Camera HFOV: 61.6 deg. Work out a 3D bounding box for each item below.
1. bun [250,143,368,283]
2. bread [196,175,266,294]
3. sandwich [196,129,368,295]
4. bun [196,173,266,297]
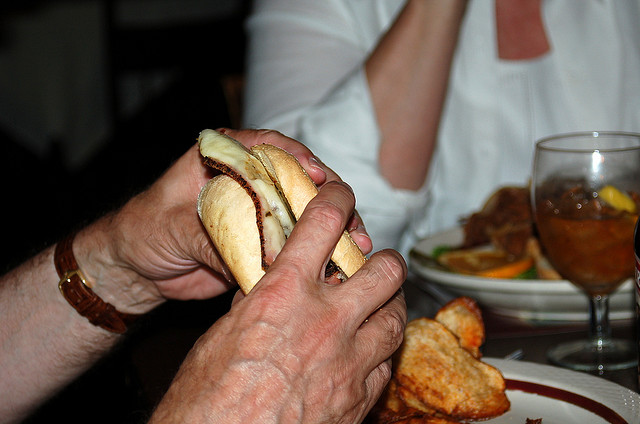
[{"bbox_3d":[-0.034,-0.017,1.247,0.078,0.206,0.342,-27,76,-5],"label":"bun"},{"bbox_3d":[-0.177,0.028,1.164,0.091,0.130,0.262,-4,64,-35],"label":"bread"},{"bbox_3d":[-0.087,-0.055,1.155,0.125,0.367,0.362,-26,24,15],"label":"sandwich"},{"bbox_3d":[-0.176,0.032,1.161,0.089,0.140,0.262,-3,65,-40],"label":"bun"}]
